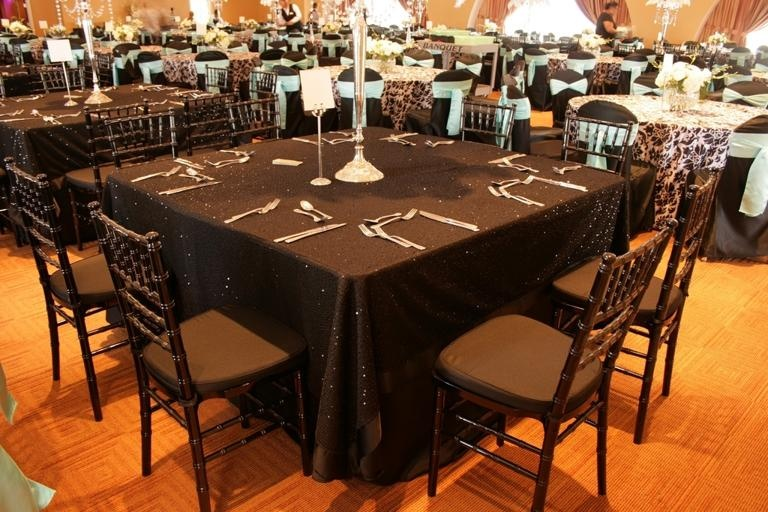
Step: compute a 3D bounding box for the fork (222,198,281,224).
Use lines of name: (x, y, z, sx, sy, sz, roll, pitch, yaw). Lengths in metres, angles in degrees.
fork: (-0.585, -0.194, 2.287, 0.207, 0.033, 0.034, -27, 58, -19)

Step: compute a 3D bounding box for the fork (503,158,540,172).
fork: (0.761, -0.494, 2.869, 0.082, 0.028, 0.144, -17, 41, -40)

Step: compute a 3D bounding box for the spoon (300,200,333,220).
spoon: (-0.312, -0.220, 2.304, 0.061, 0.042, 0.253, -13, 24, -36)

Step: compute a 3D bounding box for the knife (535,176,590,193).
knife: (0.908, -0.362, 2.648, 0.169, 0.023, 0.041, 28, 39, 31)

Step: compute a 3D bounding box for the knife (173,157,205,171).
knife: (-1.043, -0.495, 2.793, 0.285, 0.030, 0.073, 20, 45, 37)

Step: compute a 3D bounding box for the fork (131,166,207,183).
fork: (-1.101, -0.413, 2.643, 0.415, 0.059, 0.067, 4, 27, 8)

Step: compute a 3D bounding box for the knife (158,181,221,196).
knife: (-0.935, -0.320, 2.492, 0.280, 0.013, 0.039, -12, 50, -34)

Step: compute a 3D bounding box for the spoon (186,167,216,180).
spoon: (-0.939, -0.419, 2.655, 0.136, 0.034, 0.036, 25, 56, 24)

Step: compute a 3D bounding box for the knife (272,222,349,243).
knife: (-0.301, -0.097, 2.133, 0.345, 0.013, 0.088, -17, 30, -40)

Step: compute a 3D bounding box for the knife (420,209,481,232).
knife: (0.281, -0.150, 2.240, 0.320, 0.047, 0.083, 18, 38, 24)

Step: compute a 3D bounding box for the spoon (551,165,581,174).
spoon: (1.002, -0.474, 2.828, 0.286, 0.049, 0.059, -9, 32, -38)
